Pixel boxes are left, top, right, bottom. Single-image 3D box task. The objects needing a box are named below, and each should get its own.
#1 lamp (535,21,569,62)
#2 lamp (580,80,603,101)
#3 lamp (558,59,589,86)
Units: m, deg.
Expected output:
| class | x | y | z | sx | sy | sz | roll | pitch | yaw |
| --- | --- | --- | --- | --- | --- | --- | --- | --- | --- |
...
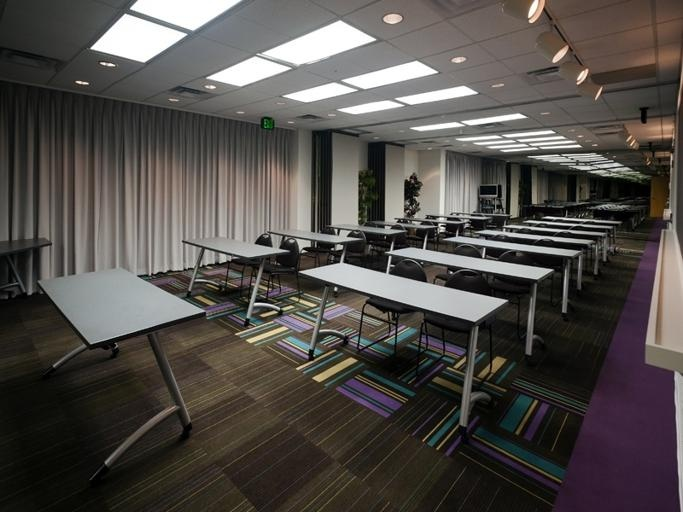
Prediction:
| class | x | y | z | sx | sy | sz | roll | pitch | yaw |
| --- | --- | --- | --- | --- | --- | --- | --- | --- | --- |
| lamp | 2.024 | -1.975 | 3.615 | 0.341 | 0.231 | 0.166 | -3 | 10 | -26 |
| lamp | 3.036 | -1.994 | 4.611 | 0.268 | 0.167 | 0.200 | -1 | 9 | -9 |
| lamp | 2.537 | -1.967 | 4.119 | 0.377 | 0.179 | 0.164 | -3 | 10 | -27 |
